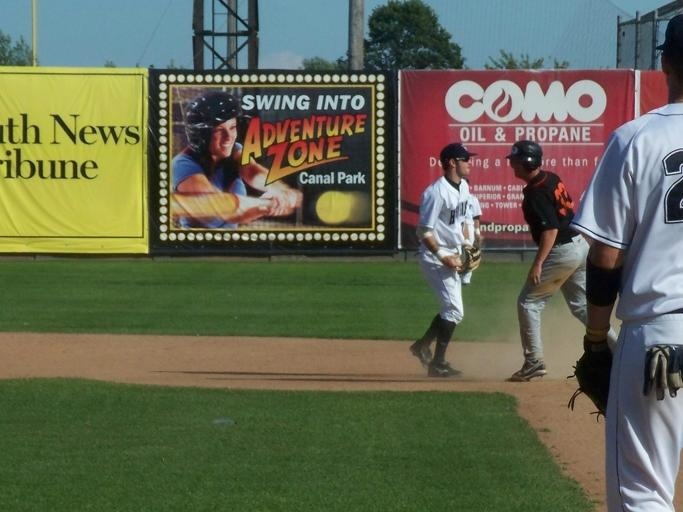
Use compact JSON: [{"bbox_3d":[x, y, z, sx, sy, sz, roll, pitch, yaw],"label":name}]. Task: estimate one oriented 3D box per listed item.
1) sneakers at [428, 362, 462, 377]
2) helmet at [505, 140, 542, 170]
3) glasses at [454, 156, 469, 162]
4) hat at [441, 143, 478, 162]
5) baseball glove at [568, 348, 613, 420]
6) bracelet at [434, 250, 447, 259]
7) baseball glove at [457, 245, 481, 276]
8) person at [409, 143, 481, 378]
[{"bbox_3d":[1.231,1.352,17.152,0.324,0.127,0.175,0,0,4],"label":"sneakers"},{"bbox_3d":[2.145,-1.238,16.643,0.290,0.199,0.382,-13,34,-43],"label":"helmet"},{"bbox_3d":[1.460,-1.191,17.044,0.195,0.062,0.058,-8,13,-35],"label":"glasses"},{"bbox_3d":[1.381,-1.273,17.087,0.319,0.162,0.230,1,10,-1],"label":"hat"},{"bbox_3d":[2.409,1.144,13.531,0.347,0.747,0.255,-9,1,8],"label":"baseball glove"},{"bbox_3d":[1.180,-0.041,16.913,0.101,0.074,0.101,-1,-4,3],"label":"bracelet"},{"bbox_3d":[1.601,0.009,17.170,0.363,0.360,0.238,-1,3,24],"label":"baseball glove"},{"bbox_3d":[1.257,0.058,17.102,0.754,2.822,0.559,-7,13,-32],"label":"person"}]
